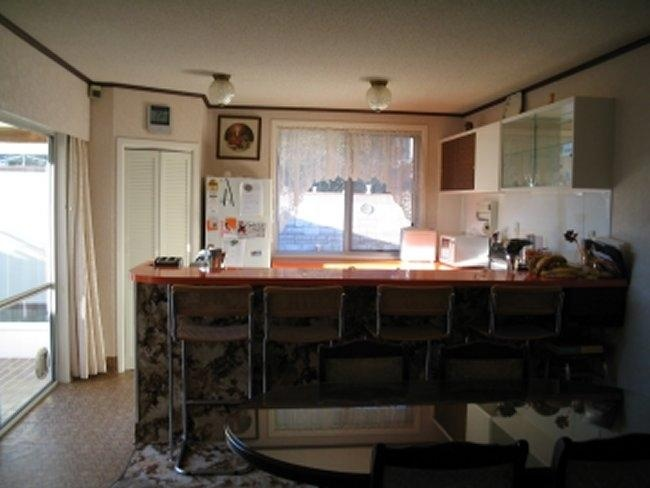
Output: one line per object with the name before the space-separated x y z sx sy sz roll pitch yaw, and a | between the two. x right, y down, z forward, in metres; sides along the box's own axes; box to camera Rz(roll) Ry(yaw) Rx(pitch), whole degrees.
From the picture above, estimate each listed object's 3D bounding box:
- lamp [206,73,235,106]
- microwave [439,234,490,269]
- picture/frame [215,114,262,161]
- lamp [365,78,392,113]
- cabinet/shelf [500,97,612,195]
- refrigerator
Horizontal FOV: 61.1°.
lamp | -0.911 -1.388 4.957 0.231 0.282 0.246 -8 3 -6
microwave | 1.591 0.081 6.511 0.369 0.418 0.743 -5 13 -26
picture/frame | -1.039 -1.293 6.534 0.562 0.543 0.045 0 5 -5
lamp | 0.497 -1.361 5.054 0.235 0.282 0.242 4 0 -1
cabinet/shelf | 2.016 -0.835 4.760 0.328 0.685 1.012 1 1 -16
refrigerator | -0.966 -0.249 6.222 0.732 1.007 0.197 -1 12 -9
